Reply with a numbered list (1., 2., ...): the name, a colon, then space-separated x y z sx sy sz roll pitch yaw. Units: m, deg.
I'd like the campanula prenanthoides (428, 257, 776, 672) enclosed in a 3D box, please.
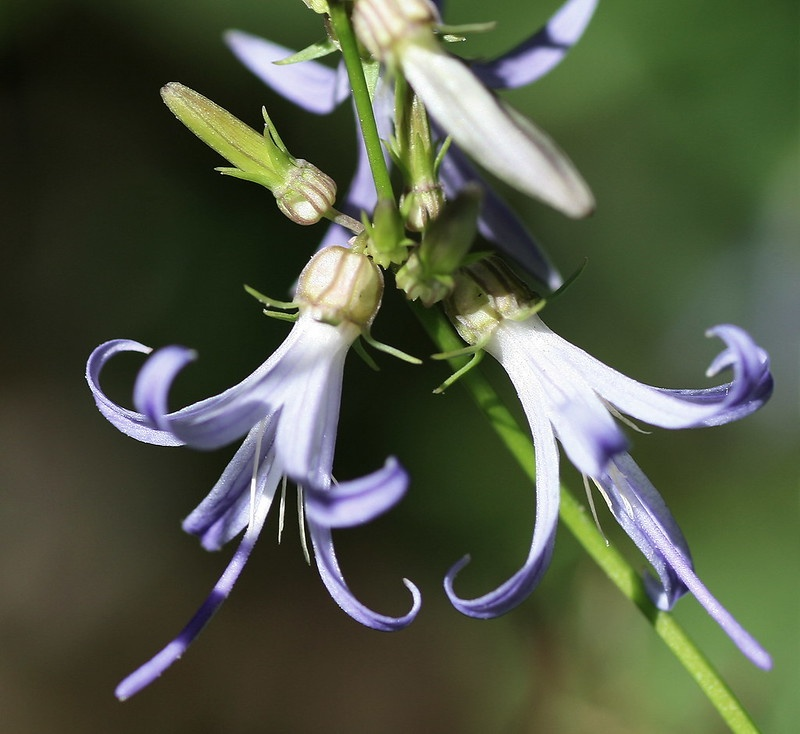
1. campanula prenanthoides: 0.355 0.179 1.721 0.584 0.735 0.447 -32 -11 -19
